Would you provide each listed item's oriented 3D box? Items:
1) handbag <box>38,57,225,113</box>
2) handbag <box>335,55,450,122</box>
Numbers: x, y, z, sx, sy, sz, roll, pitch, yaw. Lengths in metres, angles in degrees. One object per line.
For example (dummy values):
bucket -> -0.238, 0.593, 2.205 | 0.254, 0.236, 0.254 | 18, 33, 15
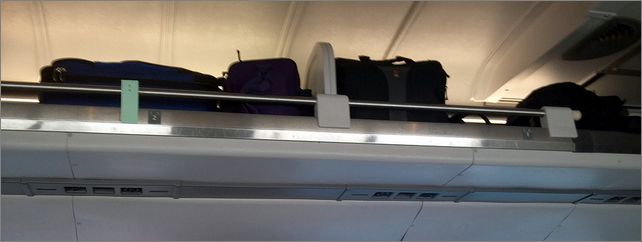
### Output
handbag -> -2.918, -0.605, 8.400 | 1.723, 0.353, 1.152 | 3, -8, -17
handbag -> 1.185, -0.616, 9.111 | 1.596, 0.769, 1.043 | 2, 5, -1
